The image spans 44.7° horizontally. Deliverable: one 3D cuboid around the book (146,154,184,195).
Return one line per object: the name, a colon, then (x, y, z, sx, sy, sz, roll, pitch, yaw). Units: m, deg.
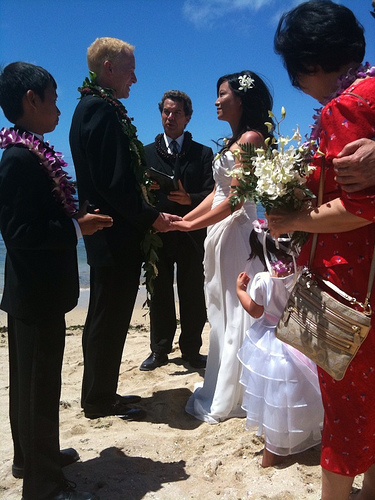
book: (-0.156, -0.657, 4.136, 0.383, 0.358, 0.096, 19, 34, 33)

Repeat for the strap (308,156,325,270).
strap: (0.485, -0.139, 1.691, 0.044, 0.367, 0.043, 17, -17, -39)

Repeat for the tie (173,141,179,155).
tie: (-0.122, -1.074, 4.808, 0.037, 0.153, 0.044, -21, -33, 26)

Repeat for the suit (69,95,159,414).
suit: (-0.488, 0.062, 3.142, 0.444, 2.097, 0.530, -6, 1, -37)

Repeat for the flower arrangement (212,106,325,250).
flower arrangement: (0.298, -0.311, 1.873, 0.368, 0.384, 0.457, -15, 54, -37)
